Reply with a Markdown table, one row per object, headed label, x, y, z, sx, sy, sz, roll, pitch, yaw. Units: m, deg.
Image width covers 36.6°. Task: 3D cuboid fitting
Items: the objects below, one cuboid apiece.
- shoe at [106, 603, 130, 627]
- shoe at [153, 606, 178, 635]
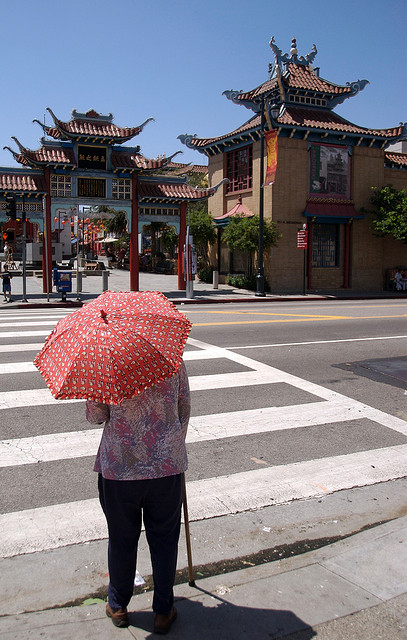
| label | x | y | z | sx | sy | sz | roll | pitch | yaw |
| --- | --- | --- | --- | --- | --- | --- | --- | --- | --- |
| shoe | -0.401 | 1.350 | 2.828 | 0.100 | 0.073 | 0.134 | -1 | 6 | -12 |
| shoe | -0.177 | 1.348 | 2.795 | 0.075 | 0.076 | 0.173 | 2 | 6 | 17 |
